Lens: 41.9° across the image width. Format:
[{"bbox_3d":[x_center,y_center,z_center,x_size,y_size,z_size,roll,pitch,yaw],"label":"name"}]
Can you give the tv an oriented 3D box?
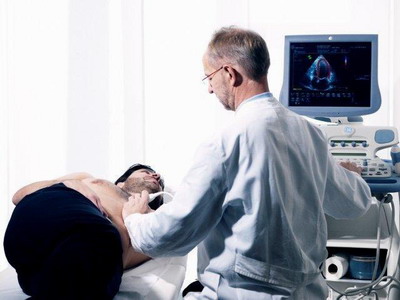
[{"bbox_3d":[0.871,-0.474,3.486,0.602,0.598,0.235,0,2,8],"label":"tv"}]
